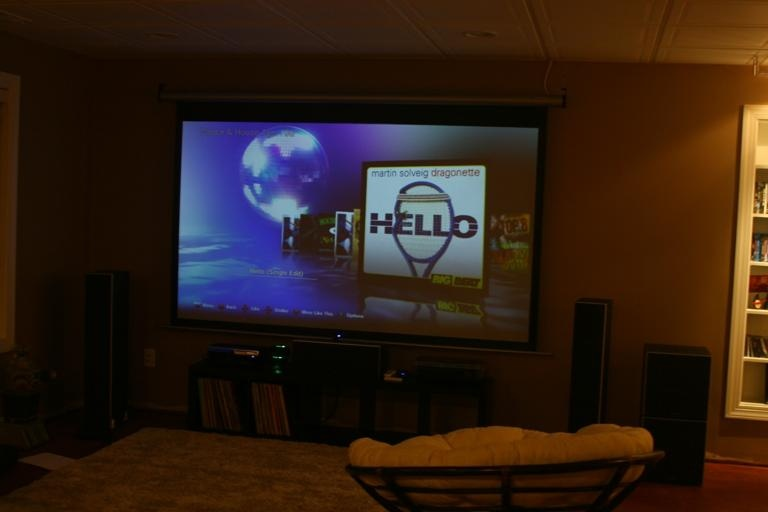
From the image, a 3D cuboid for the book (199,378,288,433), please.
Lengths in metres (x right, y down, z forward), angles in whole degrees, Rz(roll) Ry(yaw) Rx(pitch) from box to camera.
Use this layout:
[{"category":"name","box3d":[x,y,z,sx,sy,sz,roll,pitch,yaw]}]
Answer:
[{"category":"book","box3d":[-1.119,1.210,5.335,0.516,0.274,0.164,0,-3,8]}]

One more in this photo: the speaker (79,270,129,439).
[{"category":"speaker","box3d":[-2.295,0.797,5.404,0.291,1.351,0.229,3,2,7]}]

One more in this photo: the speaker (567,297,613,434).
[{"category":"speaker","box3d":[1.560,0.815,4.907,0.271,0.666,0.264,3,2,14]}]
